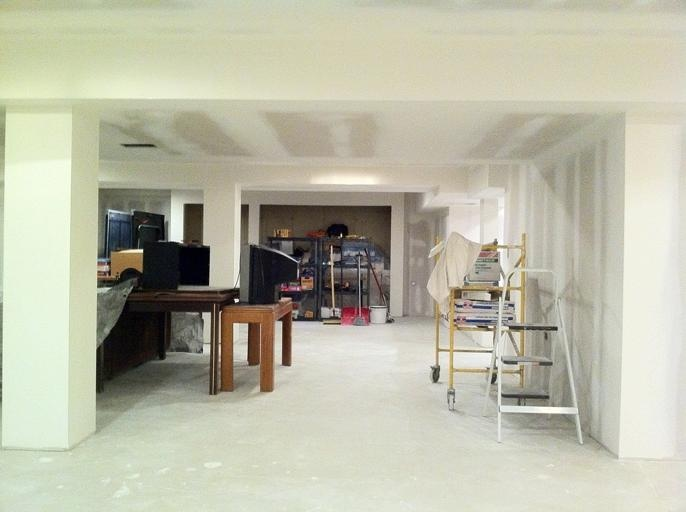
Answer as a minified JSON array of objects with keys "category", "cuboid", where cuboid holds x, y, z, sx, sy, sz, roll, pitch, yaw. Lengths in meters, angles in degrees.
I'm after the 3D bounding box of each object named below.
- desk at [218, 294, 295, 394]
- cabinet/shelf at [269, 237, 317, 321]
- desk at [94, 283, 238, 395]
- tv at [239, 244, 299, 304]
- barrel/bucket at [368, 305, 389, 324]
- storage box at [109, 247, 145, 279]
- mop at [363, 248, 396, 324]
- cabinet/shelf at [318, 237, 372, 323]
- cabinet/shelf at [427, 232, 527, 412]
[{"category":"desk","cuboid":[-0.976,0.949,6.557,0.698,0.799,1.364,3,1,-6]},{"category":"cabinet/shelf","cuboid":[-1.081,0.528,12.492,1.060,1.646,1.003,-1,10,-36]},{"category":"desk","cuboid":[-1.945,0.931,7.334,1.506,1.047,2.276,1,-3,-3]},{"category":"tv","cuboid":[-0.774,0.204,6.563,0.635,0.616,0.651,1,-1,0]},{"category":"barrel/bucket","cuboid":[0.701,1.170,11.691,0.325,0.262,0.360,-1,-2,37]},{"category":"storage box","cuboid":[-3.271,0.084,8.960,0.773,0.385,0.528,2,13,-3]},{"category":"mop","cuboid":[0.758,0.590,12.939,0.420,1.559,0.562,3,2,-4]},{"category":"cabinet/shelf","cuboid":[0.013,0.462,12.440,0.896,1.958,0.508,2,2,-8]},{"category":"cabinet/shelf","cuboid":[1.364,0.642,6.292,0.774,1.780,1.174,4,0,2]}]
